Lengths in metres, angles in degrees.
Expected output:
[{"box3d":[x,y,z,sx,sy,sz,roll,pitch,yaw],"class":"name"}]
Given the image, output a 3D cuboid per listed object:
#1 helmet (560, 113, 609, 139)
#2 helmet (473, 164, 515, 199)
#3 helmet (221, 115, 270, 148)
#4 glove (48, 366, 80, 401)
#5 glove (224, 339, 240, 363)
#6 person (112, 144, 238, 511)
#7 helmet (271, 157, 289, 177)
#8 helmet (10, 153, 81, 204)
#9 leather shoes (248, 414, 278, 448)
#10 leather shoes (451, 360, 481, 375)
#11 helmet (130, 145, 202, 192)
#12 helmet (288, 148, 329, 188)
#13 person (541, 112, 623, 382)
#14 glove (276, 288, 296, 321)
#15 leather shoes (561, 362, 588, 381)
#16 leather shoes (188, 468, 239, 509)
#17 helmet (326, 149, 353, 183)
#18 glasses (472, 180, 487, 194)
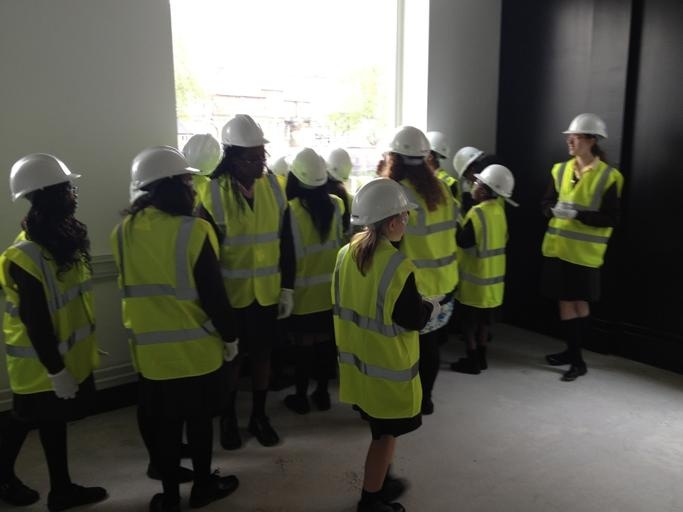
[{"box3d":[2.120,-1.130,5.190,0.292,0.169,0.238,2,13,-6],"class":"helmet"},{"box3d":[1.325,-0.670,5.230,0.307,0.175,0.247,26,30,-8],"class":"helmet"},{"box3d":[-0.678,-0.869,4.091,0.253,0.152,0.217,8,22,27],"class":"helmet"},{"box3d":[-1.676,0.769,3.564,0.153,0.211,0.119,-28,19,-29],"class":"glove"},{"box3d":[-0.695,0.574,3.720,0.081,0.157,0.158,4,54,-3],"class":"glove"},{"box3d":[-1.006,0.480,3.699,0.639,2.242,0.553,-8,17,-22],"class":"person"},{"box3d":[-0.549,-0.780,5.228,0.174,0.178,0.216,-3,4,-9],"class":"helmet"},{"box3d":[-1.806,-0.480,3.634,0.346,0.191,0.270,-28,12,-17],"class":"helmet"},{"box3d":[-0.588,1.291,4.415,0.119,0.133,0.294,-11,17,-41],"class":"leather shoes"},{"box3d":[1.103,1.000,5.399,0.209,0.098,0.128,-4,1,30],"class":"leather shoes"},{"box3d":[-1.076,-0.490,3.570,0.308,0.172,0.244,-23,24,-21],"class":"helmet"},{"box3d":[-0.264,-0.684,4.483,0.225,0.163,0.303,-23,70,-27],"class":"helmet"},{"box3d":[2.040,-0.094,5.282,0.642,2.223,0.611,11,20,38],"class":"person"},{"box3d":[-0.406,0.351,4.289,0.117,0.160,0.202,0,29,-6],"class":"glove"},{"box3d":[2.049,1.029,5.311,0.300,0.129,0.109,-9,9,-36],"class":"leather shoes"},{"box3d":[-0.822,1.483,3.928,0.142,0.213,0.361,18,18,39],"class":"leather shoes"},{"box3d":[-0.018,-0.746,4.874,0.197,0.154,0.260,-11,64,-34],"class":"helmet"},{"box3d":[1.218,-0.610,5.300,0.077,0.080,0.102,-33,-19,24],"class":"glasses"}]
